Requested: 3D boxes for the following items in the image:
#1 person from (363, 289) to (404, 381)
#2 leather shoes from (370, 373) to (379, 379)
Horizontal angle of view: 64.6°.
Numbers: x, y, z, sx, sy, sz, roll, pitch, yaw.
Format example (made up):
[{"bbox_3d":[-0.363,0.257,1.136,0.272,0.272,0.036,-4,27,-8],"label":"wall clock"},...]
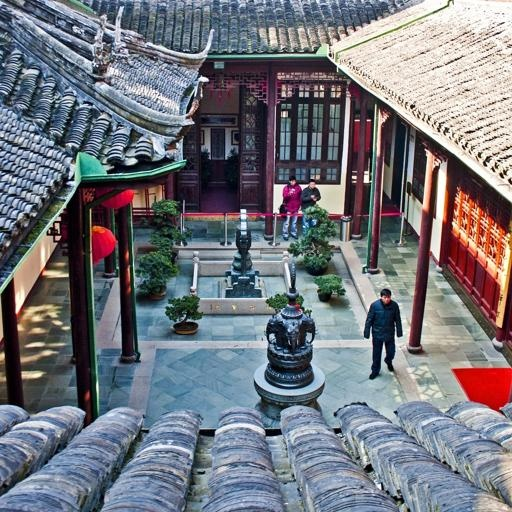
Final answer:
[{"bbox_3d":[2.779,1.688,8.975,0.761,2.093,0.639,2,13,13],"label":"person"},{"bbox_3d":[2.637,2.671,9.059,0.201,0.121,0.066,-18,33,-38],"label":"leather shoes"}]
